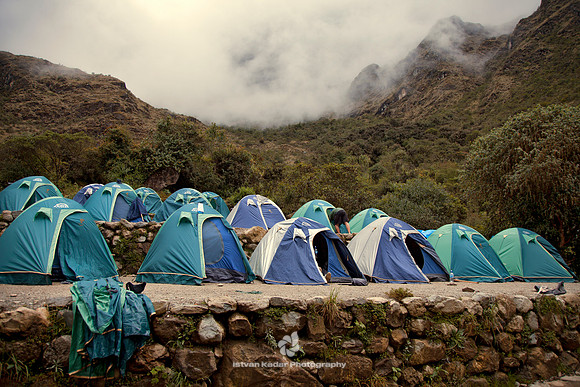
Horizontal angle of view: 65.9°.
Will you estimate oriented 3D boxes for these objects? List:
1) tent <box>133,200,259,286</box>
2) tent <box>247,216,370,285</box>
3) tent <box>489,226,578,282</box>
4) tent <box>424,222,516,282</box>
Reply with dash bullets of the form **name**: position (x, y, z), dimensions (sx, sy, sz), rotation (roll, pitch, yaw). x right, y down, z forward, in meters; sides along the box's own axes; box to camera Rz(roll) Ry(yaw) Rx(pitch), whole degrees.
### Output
- **tent**: position (-4.268, 2.325, 20.503), dimensions (4.434, 3.764, 1.255), rotation (-2, -9, -20)
- **tent**: position (0.538, 2.895, 21.093), dimensions (3.374, 1.957, 3.901), rotation (2, -2, -42)
- **tent**: position (12.475, 3.275, 23.067), dimensions (2.932, 1.713, 3.162), rotation (0, 2, 18)
- **tent**: position (8.805, 2.934, 22.753), dimensions (3.426, 1.529, 2.569), rotation (6, 7, 40)
